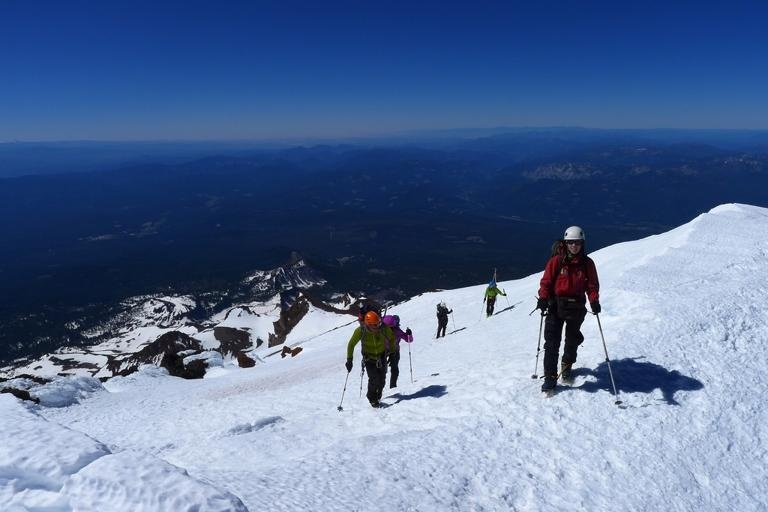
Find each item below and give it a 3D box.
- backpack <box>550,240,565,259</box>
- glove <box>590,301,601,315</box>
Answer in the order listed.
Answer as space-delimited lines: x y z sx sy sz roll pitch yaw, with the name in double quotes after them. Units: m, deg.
6.042 -0.267 19.966 0.270 0.598 0.477 28 9 -10 "backpack"
7.123 1.736 19.401 0.298 0.606 0.731 3 15 19 "glove"
